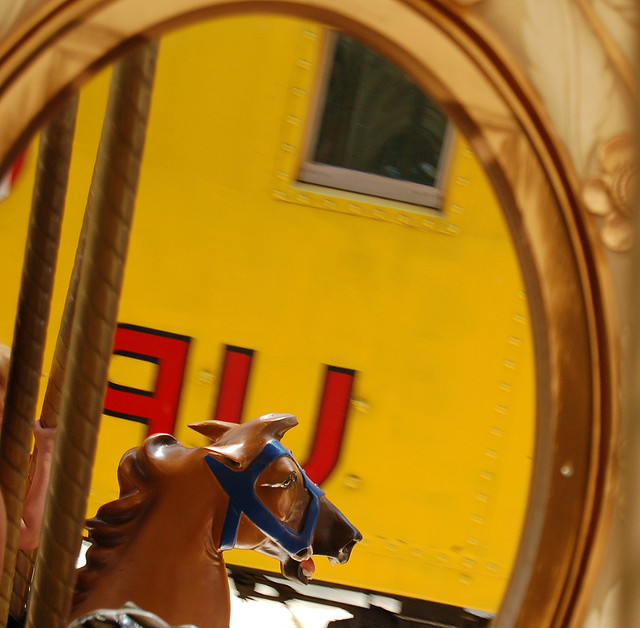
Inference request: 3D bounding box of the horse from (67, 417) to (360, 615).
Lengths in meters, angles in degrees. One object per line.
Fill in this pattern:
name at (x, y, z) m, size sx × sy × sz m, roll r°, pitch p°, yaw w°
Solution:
horse at (-0.105, 0.223, 1.036) m, size 0.259 × 0.252 × 0.093 m, roll 8°, pitch 8°, yaw -8°
